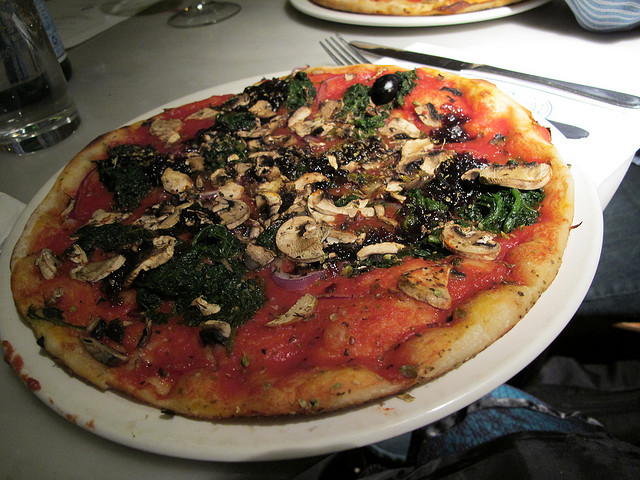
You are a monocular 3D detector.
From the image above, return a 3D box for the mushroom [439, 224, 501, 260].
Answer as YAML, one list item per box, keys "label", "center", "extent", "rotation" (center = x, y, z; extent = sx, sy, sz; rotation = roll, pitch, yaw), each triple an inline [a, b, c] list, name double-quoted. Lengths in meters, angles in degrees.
- label: "mushroom"
  center: [0.504, 0.011, 2.131]
  extent: [0.177, 0.040, 0.101]
  rotation: [20, 63, 7]

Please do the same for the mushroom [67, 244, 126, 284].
- label: "mushroom"
  center: [-0.778, 0.088, 2.169]
  extent: [0.222, 0.050, 0.114]
  rotation: [10, 73, 24]

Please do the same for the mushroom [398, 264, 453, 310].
- label: "mushroom"
  center: [0.346, 0.149, 2.056]
  extent: [0.177, 0.053, 0.152]
  rotation: [3, 56, 5]

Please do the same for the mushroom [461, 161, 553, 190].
- label: "mushroom"
  center: [0.688, -0.229, 2.232]
  extent: [0.245, 0.053, 0.115]
  rotation: [6, 37, 12]

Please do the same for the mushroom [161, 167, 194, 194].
- label: "mushroom"
  center: [-0.544, -0.213, 2.379]
  extent: [0.119, 0.039, 0.088]
  rotation: [31, 62, 9]

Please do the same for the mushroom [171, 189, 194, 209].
- label: "mushroom"
  center: [-0.513, -0.141, 2.324]
  extent: [0.088, 0.020, 0.070]
  rotation: [4, 46, 5]

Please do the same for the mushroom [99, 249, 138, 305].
- label: "mushroom"
  center: [-0.690, 0.128, 2.130]
  extent: [0.118, 0.048, 0.180]
  rotation: [30, 89, 35]

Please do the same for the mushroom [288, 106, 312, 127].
- label: "mushroom"
  center: [-0.083, -0.503, 2.576]
  extent: [0.114, 0.035, 0.056]
  rotation: [-38, 55, -16]

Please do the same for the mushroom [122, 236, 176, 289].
- label: "mushroom"
  center: [-0.566, 0.065, 2.127]
  extent: [0.203, 0.052, 0.125]
  rotation: [-44, 39, -8]

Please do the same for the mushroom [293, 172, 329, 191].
- label: "mushroom"
  center: [-0.037, -0.219, 2.328]
  extent: [0.112, 0.022, 0.055]
  rotation: [-4, 55, 2]

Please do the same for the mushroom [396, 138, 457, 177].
- label: "mushroom"
  center: [0.395, -0.298, 2.353]
  extent: [0.187, 0.049, 0.168]
  rotation: [12, 40, 23]
